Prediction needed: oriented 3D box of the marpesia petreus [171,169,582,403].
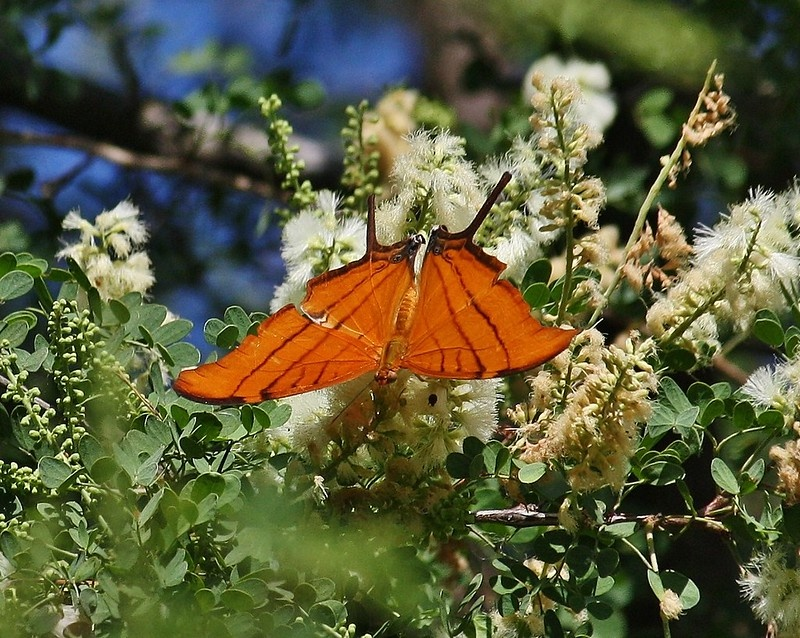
[{"bbox_3d":[0.032,-0.047,2.000,0.683,0.445,0.125,-2,36,-29],"label":"marpesia petreus"}]
